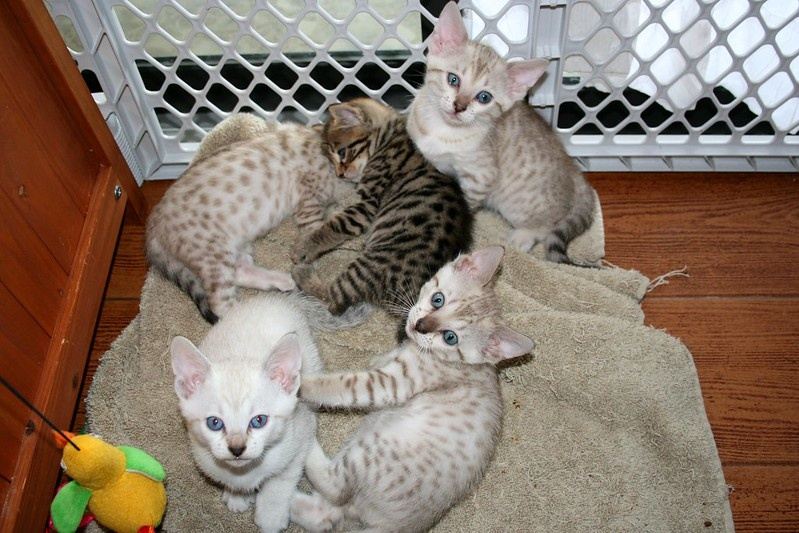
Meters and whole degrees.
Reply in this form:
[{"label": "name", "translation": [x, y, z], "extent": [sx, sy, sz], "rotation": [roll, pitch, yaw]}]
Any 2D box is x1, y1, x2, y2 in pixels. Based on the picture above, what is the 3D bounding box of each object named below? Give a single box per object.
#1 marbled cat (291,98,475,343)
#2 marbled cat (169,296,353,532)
[{"label": "marbled cat", "translation": [-0.113, -0.115, 3.401], "extent": [1.135, 0.384, 0.790], "rotation": [45, 65, -1]}, {"label": "marbled cat", "translation": [-0.529, 0.520, 2.785], "extent": [0.554, 0.593, 0.922], "rotation": [1, 58, -5]}]
